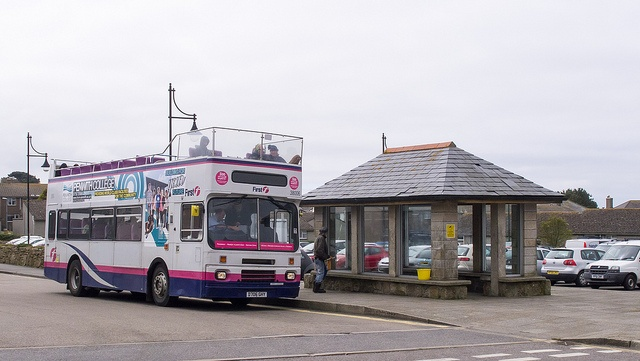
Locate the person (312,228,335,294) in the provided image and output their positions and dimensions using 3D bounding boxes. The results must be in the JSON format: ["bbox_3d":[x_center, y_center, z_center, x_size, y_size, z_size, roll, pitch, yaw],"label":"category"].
[{"bbox_3d":[-0.017,3.521,35.421,0.681,2.827,0.620,-3,-9,21],"label":"person"}]

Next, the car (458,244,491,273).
[{"bbox_3d":[6.784,3.485,36.474,1.072,1.314,3.105,1,-8,-7],"label":"car"}]
